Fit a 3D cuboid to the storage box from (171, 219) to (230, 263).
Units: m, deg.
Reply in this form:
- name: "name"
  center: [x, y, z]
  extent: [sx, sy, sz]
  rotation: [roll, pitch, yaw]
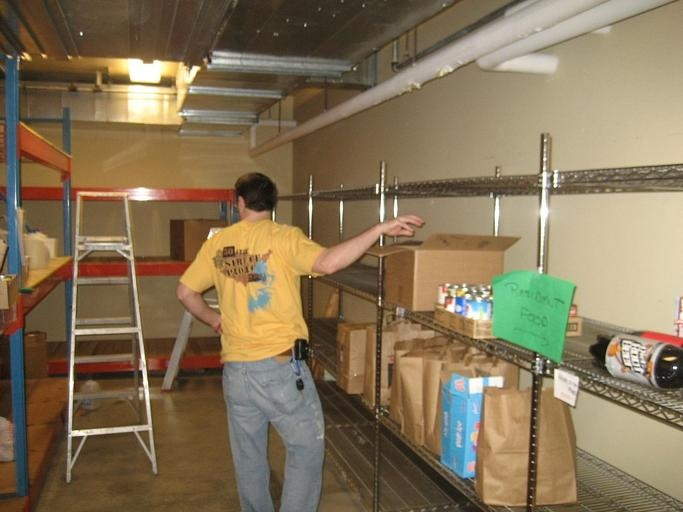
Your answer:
- name: "storage box"
  center: [-1.611, -0.199, 6.544]
  extent: [0.914, 0.504, 0.912]
  rotation: [-4, 7, -33]

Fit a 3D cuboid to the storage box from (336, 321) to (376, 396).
- name: "storage box"
  center: [0.102, 0.732, 3.731]
  extent: [0.259, 0.331, 0.191]
  rotation: [1, -8, -1]

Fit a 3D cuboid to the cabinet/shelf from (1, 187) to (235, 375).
- name: "cabinet/shelf"
  center: [-2.146, 0.247, 5.145]
  extent: [2.177, 1.844, 0.710]
  rotation: [-1, -1, -17]
